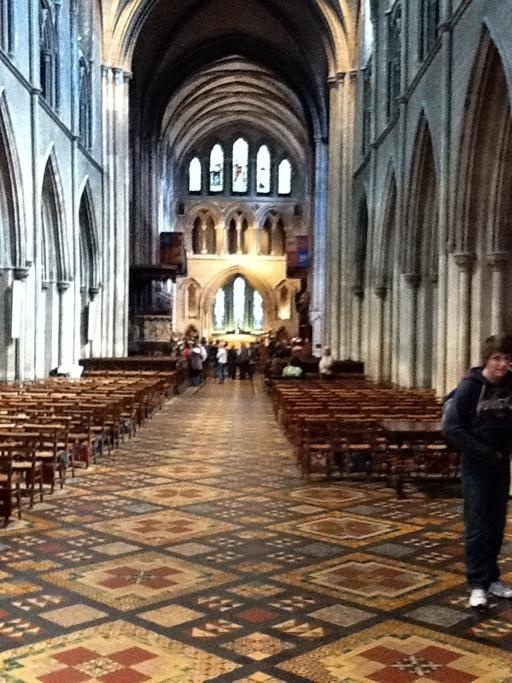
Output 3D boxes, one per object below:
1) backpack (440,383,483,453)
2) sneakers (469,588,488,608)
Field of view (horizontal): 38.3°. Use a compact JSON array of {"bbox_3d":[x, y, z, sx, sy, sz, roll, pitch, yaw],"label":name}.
[{"bbox_3d":[1.249,0.448,4.425,0.244,0.414,0.306,0,0,16],"label":"backpack"},{"bbox_3d":[1.304,1.496,4.322,0.101,0.102,0.113,0,0,12],"label":"sneakers"}]
